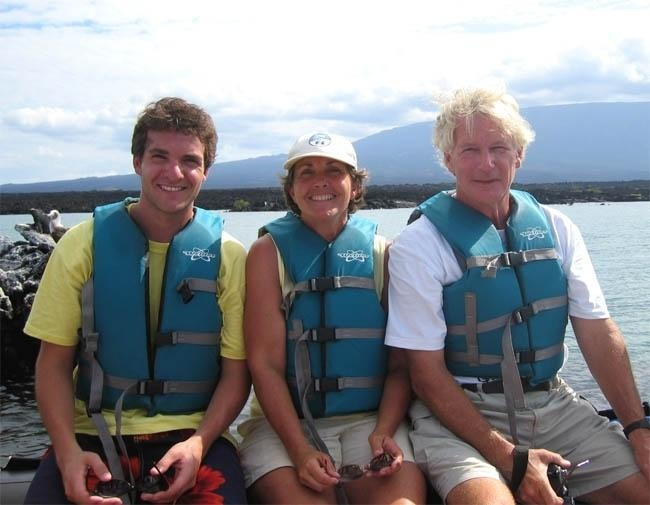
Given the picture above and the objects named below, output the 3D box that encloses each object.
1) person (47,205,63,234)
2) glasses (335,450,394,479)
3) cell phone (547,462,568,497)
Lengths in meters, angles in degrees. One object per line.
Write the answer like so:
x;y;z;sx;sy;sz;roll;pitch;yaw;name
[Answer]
-10.640;-1.302;22.676;0.403;1.159;0.614;-6;9;-12;person
0.334;1.672;4.540;0.523;0.161;0.132;-9;-35;-32;glasses
1.813;1.784;4.506;0.135;0.257;0.107;-1;7;21;cell phone
